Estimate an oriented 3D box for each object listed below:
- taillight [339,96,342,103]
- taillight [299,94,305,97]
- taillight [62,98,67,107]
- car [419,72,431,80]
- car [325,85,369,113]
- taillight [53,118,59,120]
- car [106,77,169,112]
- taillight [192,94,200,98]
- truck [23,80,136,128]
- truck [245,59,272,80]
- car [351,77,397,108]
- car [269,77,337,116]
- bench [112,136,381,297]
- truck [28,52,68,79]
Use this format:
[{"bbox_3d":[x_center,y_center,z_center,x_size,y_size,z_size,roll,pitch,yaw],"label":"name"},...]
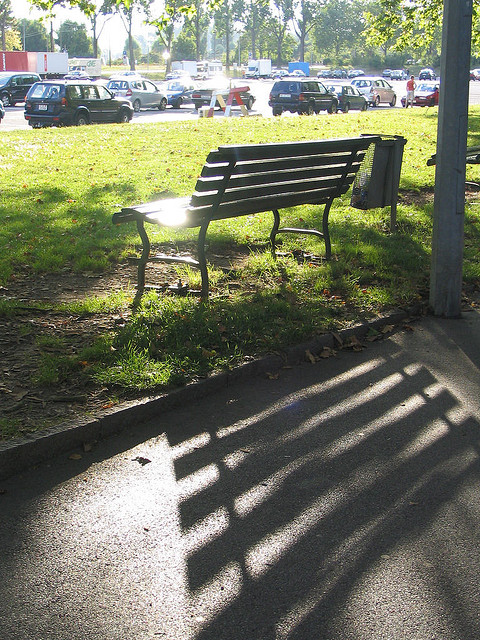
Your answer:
[{"bbox_3d":[6.147,-13.478,33.780,0.178,0.368,0.079,-5,14,-21],"label":"taillight"},{"bbox_3d":[3.337,-12.264,30.050,0.338,0.211,0.125,-10,14,-42],"label":"taillight"},{"bbox_3d":[-6.439,-8.005,20.301,0.204,0.254,0.203,-6,17,-22],"label":"taillight"},{"bbox_3d":[31.916,-42.303,95.830,2.577,1.290,1.186,-12,19,-43],"label":"car"},{"bbox_3d":[6.906,-14.187,35.320,1.737,1.445,3.651,18,32,34],"label":"car"},{"bbox_3d":[-6.812,-7.457,20.506,0.141,0.088,0.052,0,7,-9],"label":"taillight"},{"bbox_3d":[-5.856,-13.055,32.278,2.050,1.644,3.648,20,32,33],"label":"car"},{"bbox_3d":[-2.663,-13.771,33.964,0.303,0.187,0.209,-7,18,-28],"label":"taillight"},{"bbox_3d":[-5.844,-8.482,22.211,2.300,2.027,4.956,20,30,38],"label":"truck"},{"bbox_3d":[3.623,-40.406,89.622,2.794,3.043,5.607,12,19,31],"label":"truck"},{"bbox_3d":[10.312,-17.818,42.934,2.431,1.990,4.322,17,31,38],"label":"car"},{"bbox_3d":[3.456,-12.529,31.142,1.919,1.474,3.581,15,25,39],"label":"car"},{"bbox_3d":[0.104,-1.025,5.255,1.145,1.459,2.386,11,17,38],"label":"bench"},{"bbox_3d":[-19.583,-26.191,56.787,4.157,2.599,1.556,-10,17,-39],"label":"truck"}]
